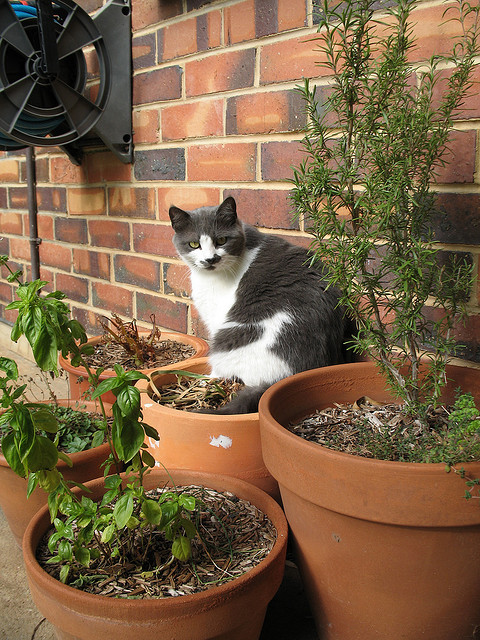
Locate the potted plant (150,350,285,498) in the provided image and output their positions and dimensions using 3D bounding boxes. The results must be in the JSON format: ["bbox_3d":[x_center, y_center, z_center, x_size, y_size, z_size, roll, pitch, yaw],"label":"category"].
[{"bbox_3d":[-0.062,0.181,1.106,0.292,0.192,0.276,-2,10,-8],"label":"potted plant"}]
